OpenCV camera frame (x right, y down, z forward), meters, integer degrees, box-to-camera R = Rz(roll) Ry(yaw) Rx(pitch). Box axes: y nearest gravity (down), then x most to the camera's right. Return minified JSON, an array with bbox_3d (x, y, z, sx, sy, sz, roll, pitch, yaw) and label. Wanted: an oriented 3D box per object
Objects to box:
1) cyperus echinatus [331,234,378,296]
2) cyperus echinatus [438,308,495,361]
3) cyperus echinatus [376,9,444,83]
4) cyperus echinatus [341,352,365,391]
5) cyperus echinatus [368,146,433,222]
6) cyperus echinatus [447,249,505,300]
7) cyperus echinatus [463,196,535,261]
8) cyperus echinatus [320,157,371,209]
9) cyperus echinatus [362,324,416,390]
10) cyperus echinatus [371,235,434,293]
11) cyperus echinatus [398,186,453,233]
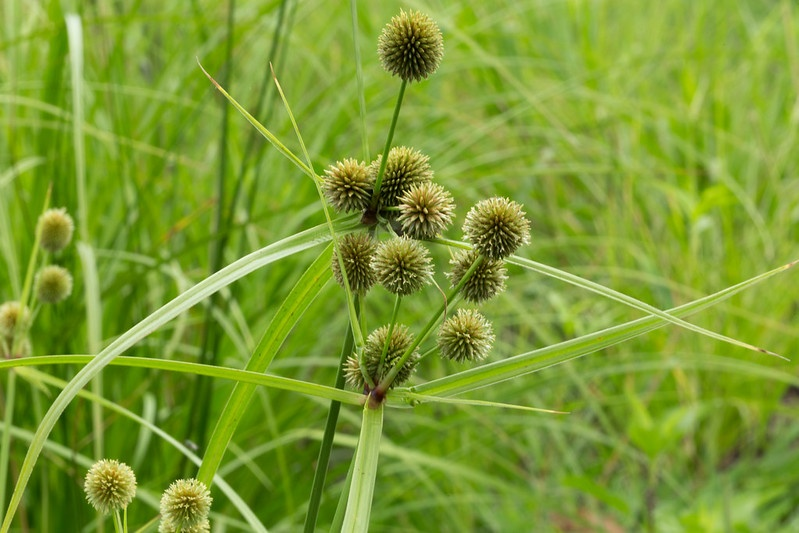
[{"bbox_3d":[-0.108,-0.008,1.962,0.124,0.128,0.152,6,-57,11],"label":"cyperus echinatus"},{"bbox_3d":[0.167,0.175,1.937,0.108,0.105,0.115,10,-93,8],"label":"cyperus echinatus"},{"bbox_3d":[0.027,-0.545,1.878,0.118,0.124,0.143,1,-95,19],"label":"cyperus echinatus"},{"bbox_3d":[-0.116,0.274,1.925,0.067,0.057,0.087,31,-37,23],"label":"cyperus echinatus"},{"bbox_3d":[0.007,-0.227,1.979,0.153,0.168,0.199,-7,-73,-23],"label":"cyperus echinatus"},{"bbox_3d":[0.198,0.031,1.884,0.123,0.129,0.127,-29,-101,1],"label":"cyperus echinatus"},{"bbox_3d":[0.246,-0.100,1.842,0.122,0.129,0.148,12,-91,-5],"label":"cyperus echinatus"},{"bbox_3d":[-0.124,-0.208,1.904,0.096,0.096,0.115,-4,-89,42],"label":"cyperus echinatus"},{"bbox_3d":[-0.019,0.219,1.923,0.114,0.107,0.143,-3,-95,-18],"label":"cyperus echinatus"},{"bbox_3d":[0.003,-0.004,1.872,0.122,0.135,0.153,1,-98,29],"label":"cyperus echinatus"},{"bbox_3d":[0.062,-0.142,1.839,0.135,0.137,0.126,1,-55,-5],"label":"cyperus echinatus"}]
